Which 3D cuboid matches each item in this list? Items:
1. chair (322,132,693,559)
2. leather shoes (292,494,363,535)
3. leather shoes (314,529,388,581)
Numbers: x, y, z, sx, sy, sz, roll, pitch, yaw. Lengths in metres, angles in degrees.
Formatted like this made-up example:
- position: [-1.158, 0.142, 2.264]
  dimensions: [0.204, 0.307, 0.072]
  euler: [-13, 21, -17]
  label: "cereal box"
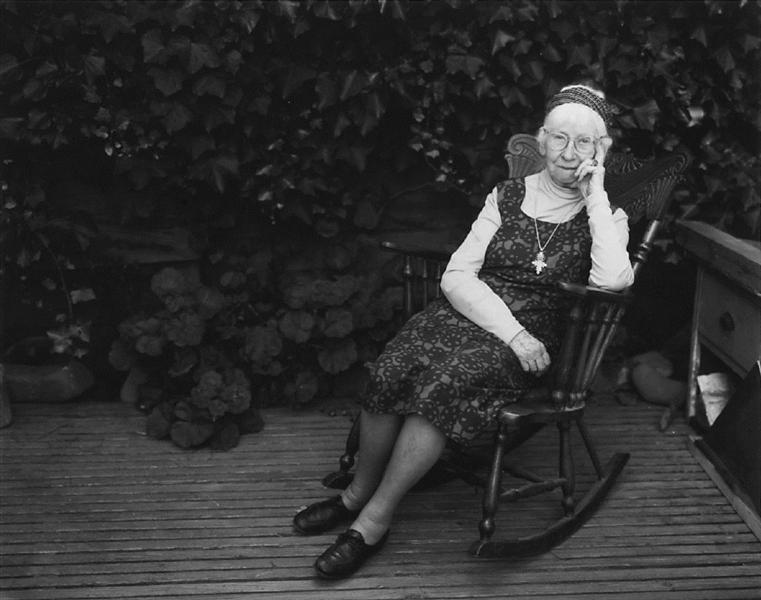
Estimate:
- position: [0.340, -0.033, 4.233]
  dimensions: [1.795, 2.102, 1.380]
  euler: [-3, 10, -32]
  label: "chair"
- position: [-0.226, 0.824, 3.277]
  dimensions: [0.323, 0.117, 0.103]
  euler: [-10, 68, -18]
  label: "leather shoes"
- position: [-0.132, 0.912, 3.135]
  dimensions: [0.299, 0.116, 0.109]
  euler: [-27, 63, -32]
  label: "leather shoes"
